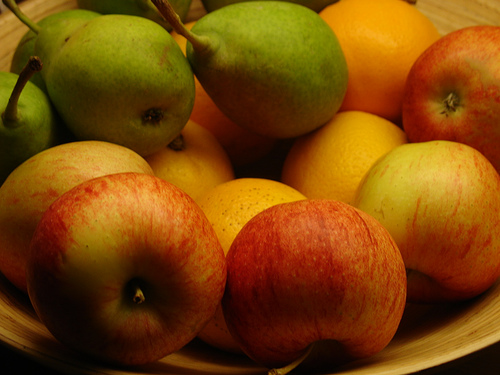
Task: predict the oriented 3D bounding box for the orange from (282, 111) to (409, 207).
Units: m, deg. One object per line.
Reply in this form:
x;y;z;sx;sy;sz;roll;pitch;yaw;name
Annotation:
0.183;-0.062;1.037;0.177;0.185;0.206;-5;65;-8;orange

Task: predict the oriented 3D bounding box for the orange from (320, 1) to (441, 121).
0.263;-0.261;1.158;0.217;0.225;0.300;13;86;16;orange

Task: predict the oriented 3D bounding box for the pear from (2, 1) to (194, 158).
-0.271;-0.221;0.926;0.158;0.160;0.351;-35;75;-31;pear

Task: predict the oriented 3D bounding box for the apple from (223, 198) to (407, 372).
0.108;0.107;0.754;0.205;0.229;0.257;3;78;17;apple

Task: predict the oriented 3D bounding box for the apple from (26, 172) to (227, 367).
-0.143;0.117;0.768;0.230;0.263;0.260;14;46;2;apple
